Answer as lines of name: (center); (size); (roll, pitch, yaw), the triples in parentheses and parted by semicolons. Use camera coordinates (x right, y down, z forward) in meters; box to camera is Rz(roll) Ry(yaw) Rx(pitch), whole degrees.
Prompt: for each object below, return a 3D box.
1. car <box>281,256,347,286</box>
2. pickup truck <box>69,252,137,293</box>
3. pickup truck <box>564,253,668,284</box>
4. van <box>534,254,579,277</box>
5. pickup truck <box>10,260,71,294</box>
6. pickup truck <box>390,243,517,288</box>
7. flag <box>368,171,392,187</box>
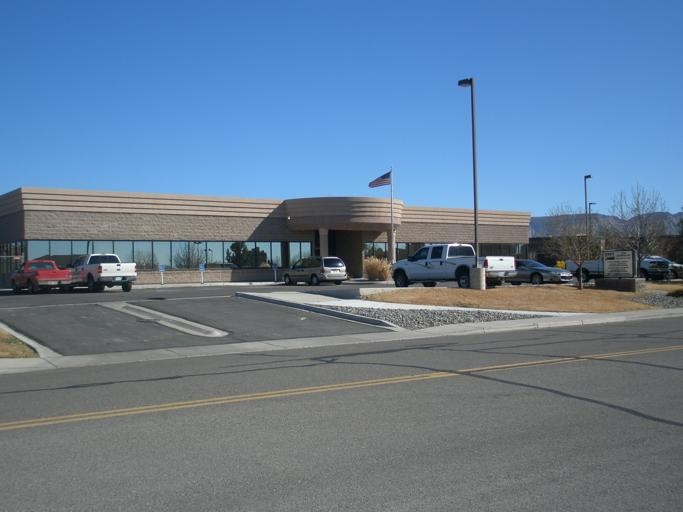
car: (-1.597, 0.959, 39.002); (2.077, 1.539, 3.603); (0, 2, -41)
pickup truck: (-13.863, 0.864, 32.365); (2.004, 1.432, 3.628); (2, 0, -40)
pickup truck: (20.375, 0.964, 40.687); (10.606, 1.673, 2.710); (-1, 1, -37)
van: (16.752, 0.600, 43.856); (1.744, 0.871, 2.985); (13, 0, -18)
pickup truck: (-17.461, 1.105, 32.613); (1.837, 1.375, 3.735); (0, 0, -37)
pickup truck: (5.505, 0.525, 29.436); (5.701, 2.073, 2.611); (-1, -2, 37)
flag: (3.048, -5.815, 42.689); (1.270, 1.190, 3.452); (0, 1, 1)
